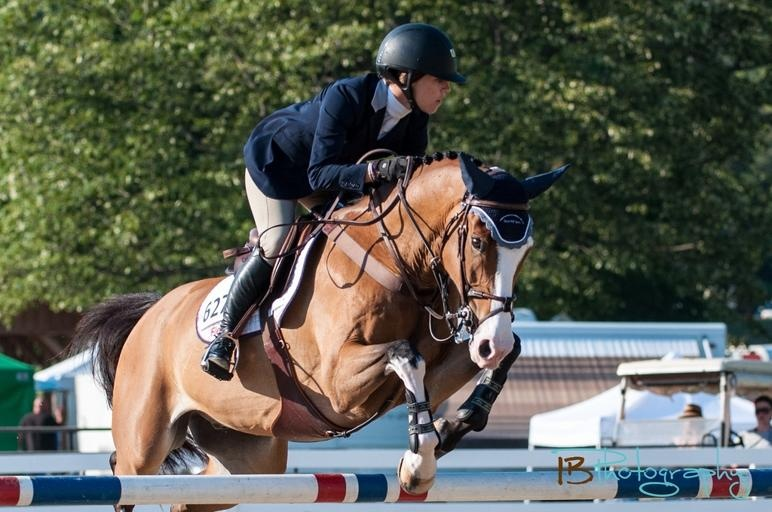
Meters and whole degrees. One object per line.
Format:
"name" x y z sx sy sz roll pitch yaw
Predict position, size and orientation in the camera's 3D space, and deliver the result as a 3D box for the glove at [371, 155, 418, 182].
"glove" 0.119 -1.231 26.797 0.518 0.183 0.374 -12 33 14
